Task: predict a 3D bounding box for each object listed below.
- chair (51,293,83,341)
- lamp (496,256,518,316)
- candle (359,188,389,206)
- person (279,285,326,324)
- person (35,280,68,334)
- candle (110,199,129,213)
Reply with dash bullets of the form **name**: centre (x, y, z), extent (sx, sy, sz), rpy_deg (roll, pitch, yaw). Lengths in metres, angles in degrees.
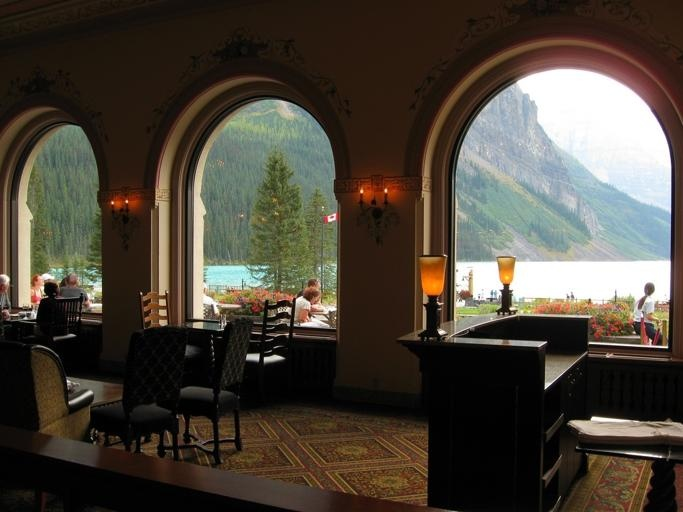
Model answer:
- **chair**: centre (-4.371, 0.965, 8.979), extent (0.520, 0.947, 0.558), rpy_deg (-1, 4, -42)
- **lamp**: centre (1.763, 0.304, 6.209), extent (0.184, 0.598, 0.912), rpy_deg (2, 4, 15)
- **candle**: centre (0.415, -0.747, 7.410), extent (0.405, 0.228, 0.016), rpy_deg (3, 4, 22)
- **person**: centre (-0.563, 0.947, 9.168), extent (0.535, 0.853, 0.385), rpy_deg (7, 0, -20)
- **person**: centre (-4.464, 0.807, 8.834), extent (0.410, 0.776, 0.559), rpy_deg (1, 4, -8)
- **candle**: centre (-3.475, -0.770, 9.011), extent (0.400, 0.203, 0.014), rpy_deg (4, 4, 24)
